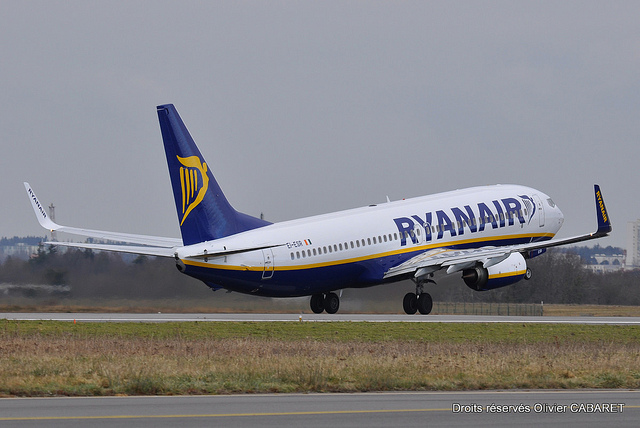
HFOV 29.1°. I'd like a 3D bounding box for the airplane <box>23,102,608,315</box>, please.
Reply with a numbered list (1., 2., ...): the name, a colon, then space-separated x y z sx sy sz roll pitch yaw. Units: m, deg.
1. airplane: 1.465 0.224 57.822 23.458 10.240 5.115 -2 6 -35
